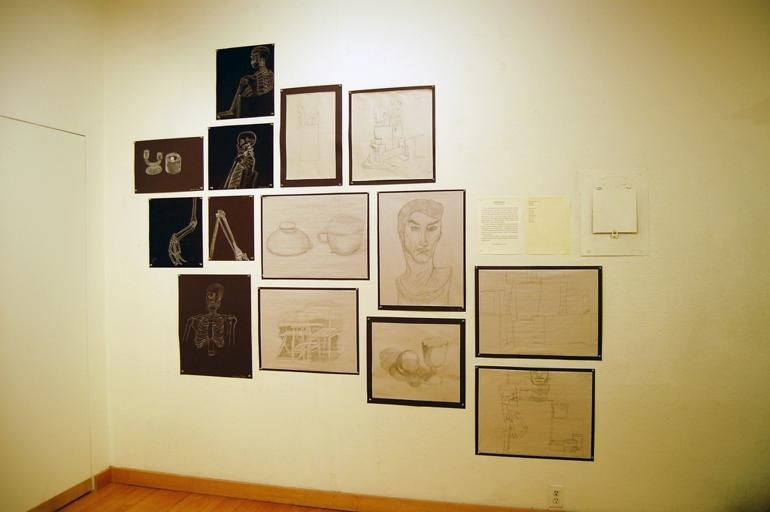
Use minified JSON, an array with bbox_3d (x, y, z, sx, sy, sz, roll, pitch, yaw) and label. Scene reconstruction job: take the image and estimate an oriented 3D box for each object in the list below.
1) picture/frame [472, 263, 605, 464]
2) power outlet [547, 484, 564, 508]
[{"bbox_3d":[1.169,0.807,4.715,0.941,1.457,0.065,1,2,3],"label":"picture/frame"},{"bbox_3d":[1.307,1.842,4.706,0.101,0.185,0.009,1,2,6],"label":"power outlet"}]
